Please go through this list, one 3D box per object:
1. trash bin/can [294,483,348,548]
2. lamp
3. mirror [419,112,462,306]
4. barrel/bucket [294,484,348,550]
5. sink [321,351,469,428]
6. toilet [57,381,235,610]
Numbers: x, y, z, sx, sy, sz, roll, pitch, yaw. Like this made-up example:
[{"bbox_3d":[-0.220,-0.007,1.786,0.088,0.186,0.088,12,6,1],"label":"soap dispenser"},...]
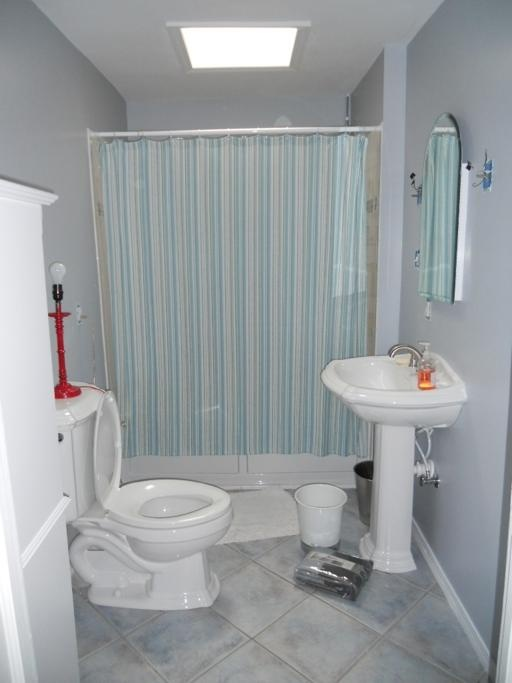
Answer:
[{"bbox_3d":[0.289,0.796,2.231,0.239,0.212,0.248,1,4,-17],"label":"trash bin/can"},{"bbox_3d":[-0.676,-0.039,1.719,0.108,0.447,0.108,-5,9,-28],"label":"lamp"},{"bbox_3d":[0.695,-0.491,1.888,0.094,0.688,0.487,0,7,12],"label":"mirror"},{"bbox_3d":[0.295,0.797,2.232,0.247,0.211,0.244,-1,4,0],"label":"barrel/bucket"},{"bbox_3d":[0.499,0.198,1.928,0.474,0.182,0.524,-4,15,3],"label":"sink"},{"bbox_3d":[-0.384,0.587,1.904,0.593,0.773,0.405,2,4,-2],"label":"toilet"}]
